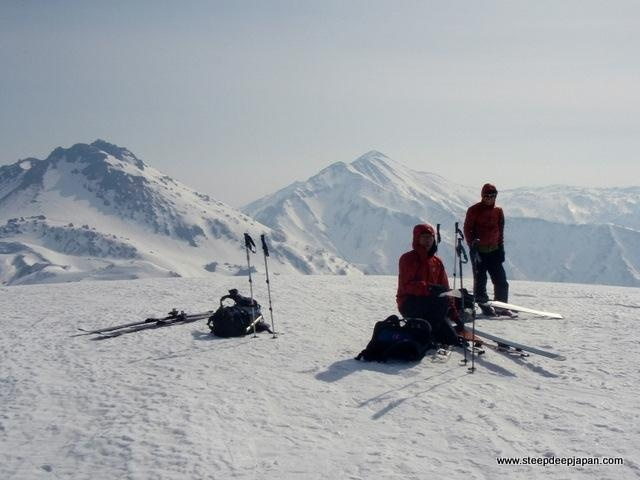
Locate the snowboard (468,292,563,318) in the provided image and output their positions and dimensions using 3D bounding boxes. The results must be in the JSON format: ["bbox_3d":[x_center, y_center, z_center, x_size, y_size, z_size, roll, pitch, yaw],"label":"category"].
[{"bbox_3d":[5.154,1.881,19.160,2.254,0.214,0.720,11,13,30],"label":"snowboard"}]

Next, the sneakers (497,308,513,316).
[{"bbox_3d":[5.035,1.927,20.040,0.313,0.100,0.206,18,9,24],"label":"sneakers"}]
